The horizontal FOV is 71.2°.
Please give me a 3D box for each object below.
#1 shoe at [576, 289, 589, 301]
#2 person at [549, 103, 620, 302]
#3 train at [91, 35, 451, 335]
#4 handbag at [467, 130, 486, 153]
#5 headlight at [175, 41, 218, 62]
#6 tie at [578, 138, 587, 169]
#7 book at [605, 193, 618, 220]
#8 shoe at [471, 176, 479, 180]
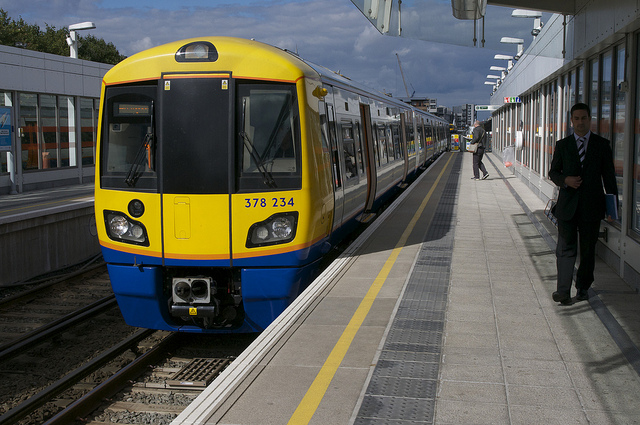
[{"bbox_3d":[3.447,1.091,5.906,0.132,0.140,0.140,-5,-18,6],"label":"shoe"},{"bbox_3d":[3.350,-0.094,5.732,0.718,2.518,0.432,0,9,4],"label":"person"},{"bbox_3d":[-0.368,-0.476,8.287,2.601,4.753,6.212,4,11,30],"label":"train"},{"bbox_3d":[6.495,-2.830,18.473,0.457,0.709,0.419,3,10,20],"label":"handbag"},{"bbox_3d":[-1.678,-2.196,6.136,0.603,0.275,0.103,0,9,5],"label":"headlight"},{"bbox_3d":[3.322,-0.764,5.650,0.091,0.341,0.074,4,10,29],"label":"tie"},{"bbox_3d":[3.631,-0.075,5.547,0.093,0.315,0.169,-2,9,-6],"label":"book"},{"bbox_3d":[6.869,-1.522,19.675,0.179,0.166,0.485,-2,11,-9],"label":"shoe"}]
